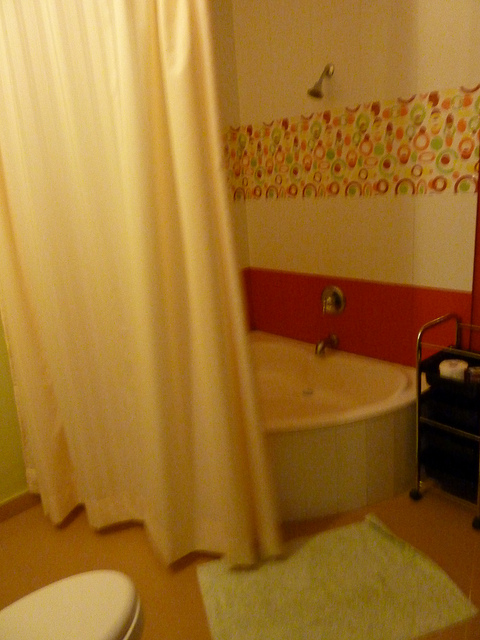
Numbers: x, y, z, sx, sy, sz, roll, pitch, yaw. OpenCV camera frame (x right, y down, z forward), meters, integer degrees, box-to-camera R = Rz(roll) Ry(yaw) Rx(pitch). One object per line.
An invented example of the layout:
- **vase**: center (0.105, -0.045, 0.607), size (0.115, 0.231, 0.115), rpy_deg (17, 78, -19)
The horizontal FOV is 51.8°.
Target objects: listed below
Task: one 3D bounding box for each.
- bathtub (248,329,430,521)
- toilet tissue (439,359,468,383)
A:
- **bathtub**: center (0.402, 0.415, 2.148), size (0.634, 0.408, 0.905), rpy_deg (-4, 11, -2)
- **toilet tissue**: center (0.721, 0.168, 1.673), size (0.088, 0.048, 0.106), rpy_deg (3, 13, 30)
